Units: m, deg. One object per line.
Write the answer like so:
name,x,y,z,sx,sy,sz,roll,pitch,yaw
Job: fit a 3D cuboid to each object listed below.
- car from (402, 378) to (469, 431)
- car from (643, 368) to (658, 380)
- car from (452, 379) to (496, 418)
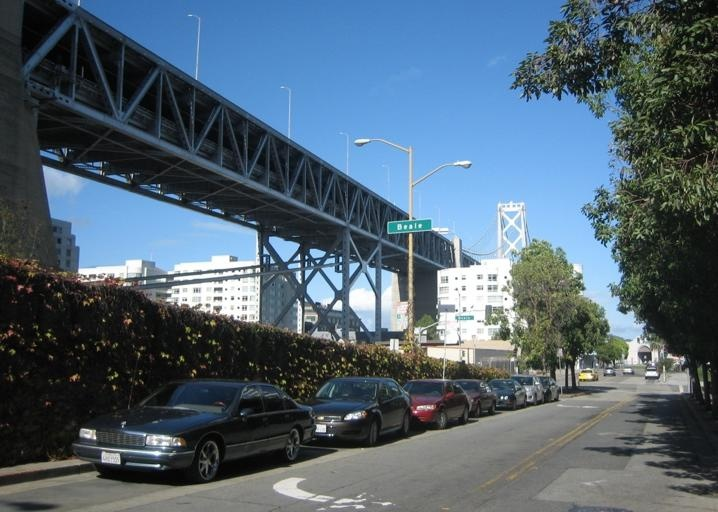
car,2.714,5.109,23.336,1.182,0.944,2.596,-6,-18,22
car,37.900,15.241,86.897,1.381,1.297,2.782,-3,-7,18
car,5.066,6.038,28.653,1.054,0.872,2.442,-6,-18,23
